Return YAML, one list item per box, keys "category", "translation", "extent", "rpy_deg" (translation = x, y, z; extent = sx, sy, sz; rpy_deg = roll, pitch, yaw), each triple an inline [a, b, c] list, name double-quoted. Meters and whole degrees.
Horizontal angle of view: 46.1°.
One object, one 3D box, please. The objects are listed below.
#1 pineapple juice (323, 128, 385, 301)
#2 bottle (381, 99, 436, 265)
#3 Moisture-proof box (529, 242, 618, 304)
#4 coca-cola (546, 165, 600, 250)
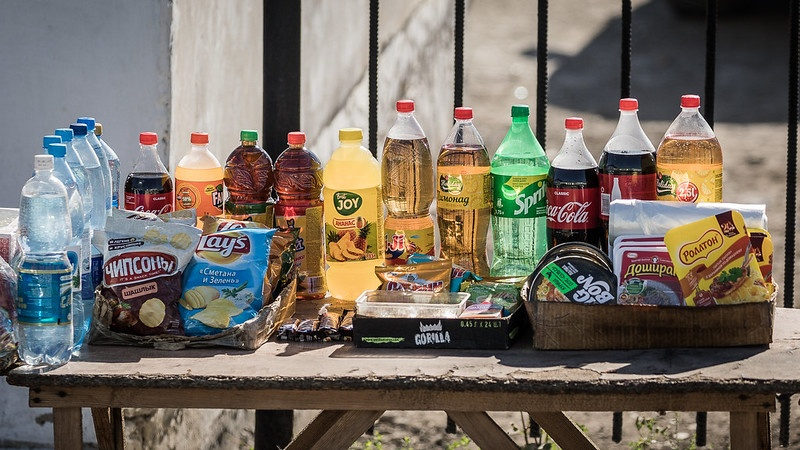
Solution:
- category: "pineapple juice"
  translation: [-0.193, -0.040, 3.941]
  extent: [0.249, 0.724, 0.263]
  rpy_deg: [-2, 7, -2]
- category: "bottle"
  translation: [0.034, -0.180, 3.975]
  extent: [0.222, 0.688, 0.280]
  rpy_deg: [-1, 7, -1]
- category: "Moisture-proof box"
  translation: [0.652, 0.186, 3.611]
  extent: [0.351, 0.222, 0.142]
  rpy_deg: [-1, 7, -2]
- category: "coca-cola"
  translation: [0.715, -0.050, 3.906]
  extent: [0.204, 0.639, 0.182]
  rpy_deg: [1, 13, 13]
